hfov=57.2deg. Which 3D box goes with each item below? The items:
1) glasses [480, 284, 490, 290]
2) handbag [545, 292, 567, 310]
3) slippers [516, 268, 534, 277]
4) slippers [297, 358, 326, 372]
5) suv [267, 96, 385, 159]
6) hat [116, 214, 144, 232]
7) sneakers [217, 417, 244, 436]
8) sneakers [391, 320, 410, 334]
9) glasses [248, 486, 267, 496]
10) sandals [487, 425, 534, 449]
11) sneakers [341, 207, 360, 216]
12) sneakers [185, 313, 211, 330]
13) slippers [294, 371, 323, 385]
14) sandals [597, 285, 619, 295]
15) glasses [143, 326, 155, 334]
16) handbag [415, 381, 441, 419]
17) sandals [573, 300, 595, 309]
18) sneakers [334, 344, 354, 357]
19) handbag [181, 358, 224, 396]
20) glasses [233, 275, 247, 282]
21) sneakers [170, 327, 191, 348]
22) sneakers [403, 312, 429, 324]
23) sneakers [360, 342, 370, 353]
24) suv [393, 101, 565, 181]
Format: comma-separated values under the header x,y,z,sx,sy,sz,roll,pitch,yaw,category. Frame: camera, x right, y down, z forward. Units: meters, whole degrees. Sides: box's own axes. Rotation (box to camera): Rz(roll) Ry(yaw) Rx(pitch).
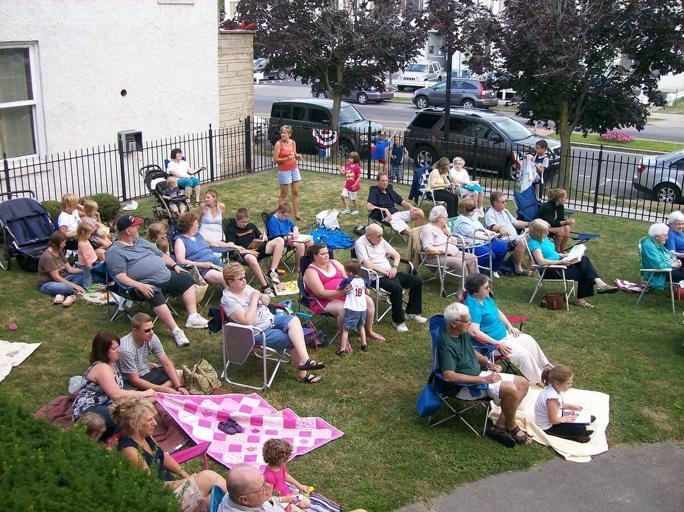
x,y,z,sx,sy,sz,roll,pitch,yaw,category
1.855,0.397,8.162,0.064,0.060,0.104,8,-8,36,glasses
3.505,0.738,10.357,0.268,0.198,0.277,-1,-2,23,handbag
3.407,0.312,11.672,0.243,0.071,0.126,-2,34,11,slippers
-0.402,1.455,8.391,0.355,0.154,0.136,-2,4,-15,slippers
-0.693,-4.063,21.233,3.938,2.165,2.265,6,19,19,suv
-3.039,-0.445,9.125,0.413,0.218,0.267,-16,29,-26,hat
-1.311,1.995,7.335,0.179,0.070,0.154,10,15,31,sneakers
0.893,1.089,9.581,0.116,0.113,0.228,-12,14,-38,sneakers
-0.717,2.063,5.500,0.126,0.039,0.128,2,-6,-29,glasses
1.957,2.123,7.389,0.379,0.146,0.218,12,37,26,sandals
0.170,-1.015,14.416,0.443,0.203,0.156,-3,6,23,sneakers
-2.171,0.982,9.500,0.467,0.297,0.216,3,6,-3,sneakers
-0.433,1.599,8.309,0.261,0.113,0.163,2,14,13,slippers
4.440,0.563,10.484,0.369,0.169,0.141,-3,-5,15,sandals
-2.310,0.886,7.466,0.109,0.062,0.138,-5,1,-32,glasses
1.052,1.759,7.593,0.225,0.433,0.306,1,33,-28,handbag
4.049,0.792,10.496,0.338,0.099,0.128,12,36,22,sandals
0.033,1.352,8.955,0.235,0.089,0.112,-6,6,-44,sneakers
-1.732,1.533,8.015,0.362,0.427,0.586,-20,-3,25,handbag
-1.354,0.300,8.235,0.095,0.051,0.078,8,11,36,glasses
-2.287,1.144,8.946,0.148,0.154,0.379,-29,41,-26,sneakers
1.167,0.973,9.904,0.362,0.169,0.138,7,20,20,sneakers
0.332,1.324,9.055,0.081,0.088,0.185,9,-15,-7,sneakers
4.043,-3.165,18.911,4.644,2.000,2.232,11,21,23,suv
